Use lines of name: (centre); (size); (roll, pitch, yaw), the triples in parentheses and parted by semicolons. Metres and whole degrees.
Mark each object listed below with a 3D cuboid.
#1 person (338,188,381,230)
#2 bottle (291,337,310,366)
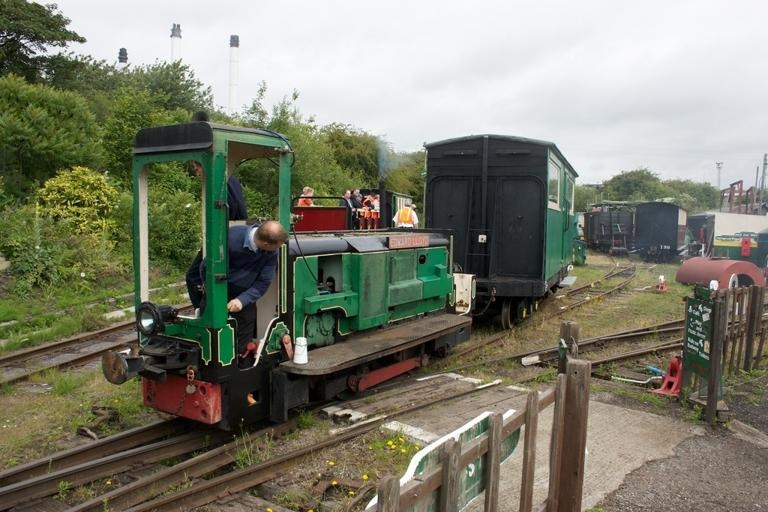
person: (-0.548, -1.260, 15.078); (0.810, 1.093, 1.478); (2, 8, 15)
bottle: (-1.277, 1.428, 8.588); (0.240, 0.388, 0.276); (-1, 6, -9)
